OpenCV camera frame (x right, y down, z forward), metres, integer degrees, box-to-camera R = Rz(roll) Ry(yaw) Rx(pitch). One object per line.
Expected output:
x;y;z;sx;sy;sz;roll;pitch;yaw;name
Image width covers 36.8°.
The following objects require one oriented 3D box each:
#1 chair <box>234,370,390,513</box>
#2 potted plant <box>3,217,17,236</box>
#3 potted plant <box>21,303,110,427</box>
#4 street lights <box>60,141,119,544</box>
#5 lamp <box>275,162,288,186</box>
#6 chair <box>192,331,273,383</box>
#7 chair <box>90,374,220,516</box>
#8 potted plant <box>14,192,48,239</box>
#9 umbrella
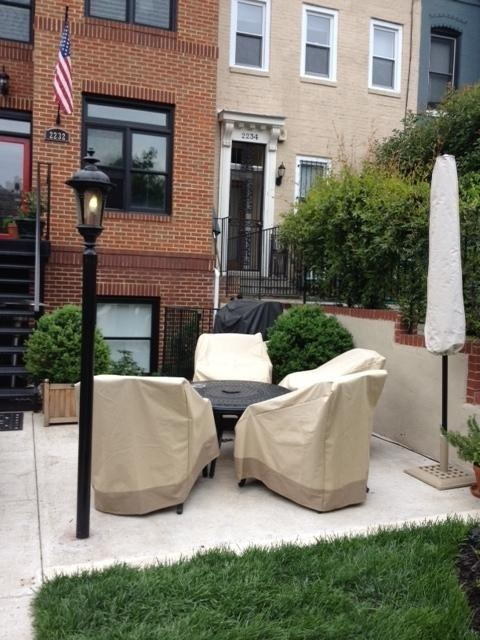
0.485;0.775;5.570;0.833;1.199;1.005;-4;9;-34;chair
-3.133;-1.261;9.743;0.158;0.260;0.922;-1;5;-19;potted plant
-1.969;0.413;7.860;0.917;1.300;0.879;8;0;45;potted plant
-0.992;0.198;4.641;0.212;2.354;0.336;2;4;16;street lights
0.678;-2.553;12.474;0.164;0.414;0.219;1;4;12;lamp
-0.093;0.484;8.003;0.860;0.648;0.728;0;8;-7;chair
-0.690;0.760;5.383;0.862;0.943;1.148;0;11;11;chair
-2.762;-1.400;9.506;0.356;0.694;0.446;4;-2;3;potted plant
1.683;-0.011;5.844;0.462;2.649;0.606;-1;4;-19;umbrella
